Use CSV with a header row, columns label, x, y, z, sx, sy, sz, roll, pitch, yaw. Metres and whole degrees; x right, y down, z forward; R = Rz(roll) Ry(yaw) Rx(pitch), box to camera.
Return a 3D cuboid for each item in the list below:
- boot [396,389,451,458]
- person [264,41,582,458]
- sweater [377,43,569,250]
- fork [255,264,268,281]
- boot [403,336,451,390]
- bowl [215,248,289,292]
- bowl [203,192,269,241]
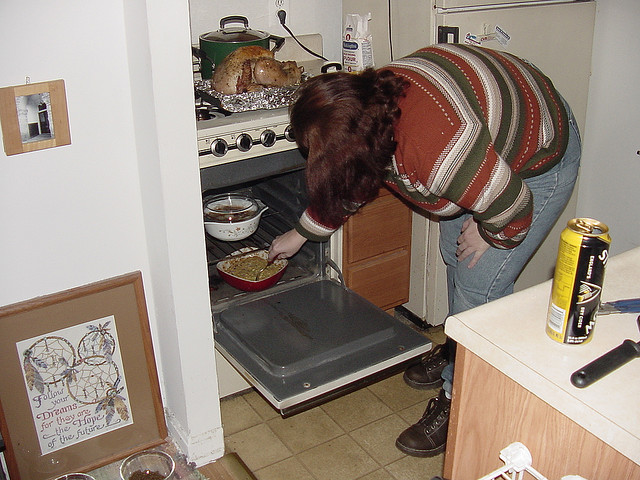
label,x,y,z,sx,sy,sz,roll,pitch,yaw
boot,0.428,0.636,1.937,0.125,0.154,0.344,21,31,38
person,0.387,0.028,1.750,1.020,1.385,0.622,-24,39,-14
sweater,0.435,-0.229,1.439,0.665,0.587,0.326,-19,29,-29
fork,-0.215,0.121,1.945,0.018,0.017,0.118,5,26,18
boot,0.480,0.530,2.158,0.270,0.163,0.108,2,5,-31
bowl,-0.252,0.117,1.956,0.207,0.073,0.166,-16,32,-28
bowl,-0.327,-0.081,1.923,0.254,0.120,0.219,-9,30,-11
